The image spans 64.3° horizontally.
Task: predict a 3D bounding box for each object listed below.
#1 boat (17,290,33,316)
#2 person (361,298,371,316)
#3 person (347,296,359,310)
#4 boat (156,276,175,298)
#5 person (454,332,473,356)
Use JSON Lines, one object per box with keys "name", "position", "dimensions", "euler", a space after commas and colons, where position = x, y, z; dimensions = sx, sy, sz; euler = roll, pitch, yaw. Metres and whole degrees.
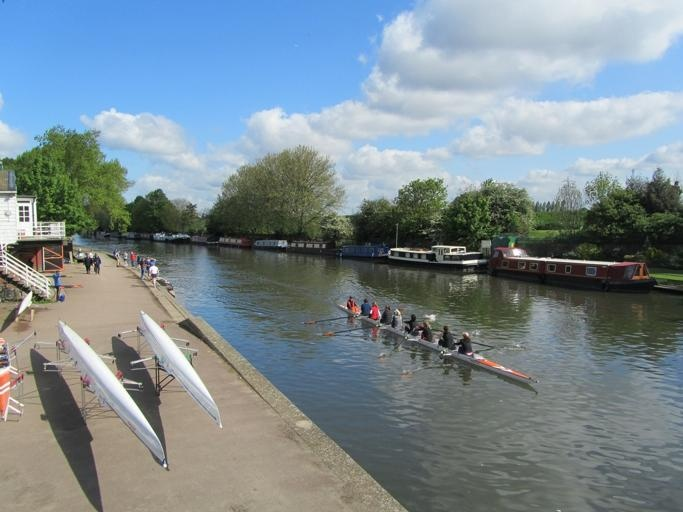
{"name": "boat", "position": [-18.182, 2.689, 31.141], "dimensions": [0.331, 1.284, 1.333], "euler": [24, -11, -31]}
{"name": "person", "position": [1.728, 3.675, 39.083], "dimensions": [1.055, 1.443, 0.944], "euler": [-1, -24, 2]}
{"name": "person", "position": [0.862, 3.702, 43.256], "dimensions": [0.823, 1.460, 0.426], "euler": [-7, 11, -16]}
{"name": "boat", "position": [-15.701, 3.036, 48.677], "dimensions": [1.479, 0.939, 6.290], "euler": [-5, 13, -23]}
{"name": "person", "position": [6.935, 4.774, 30.612], "dimensions": [0.779, 1.192, 1.481], "euler": [4, 10, 7]}
